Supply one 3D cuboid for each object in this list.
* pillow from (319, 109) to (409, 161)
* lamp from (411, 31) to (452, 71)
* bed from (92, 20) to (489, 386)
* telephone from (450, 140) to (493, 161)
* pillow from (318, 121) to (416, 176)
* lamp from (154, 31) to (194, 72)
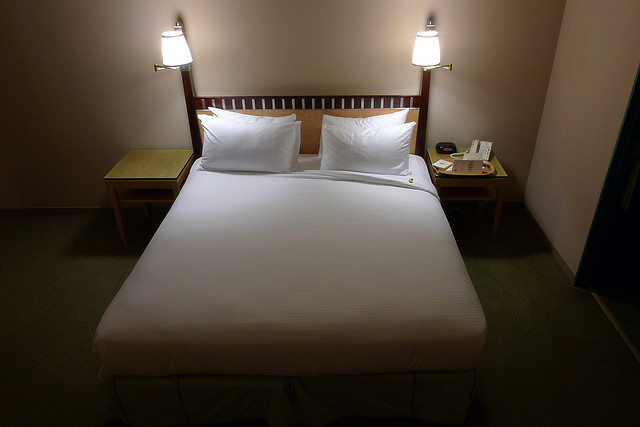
[{"bbox_3d":[0.438,-0.726,4.094,0.543,0.122,0.349,1,68,14],"label":"pillow"},{"bbox_3d":[1.062,-1.468,3.994,0.373,0.314,0.238,-4,22,-6],"label":"lamp"},{"bbox_3d":[-0.206,0.078,3.505,2.525,1.218,2.172,-2,27,1],"label":"bed"},{"bbox_3d":[1.501,-0.632,4.174,0.204,0.167,0.377,14,37,40],"label":"telephone"},{"bbox_3d":[0.434,-0.632,4.135,0.928,0.531,0.292,4,25,9],"label":"pillow"},{"bbox_3d":[-1.409,-1.487,4.043,0.375,0.324,0.256,3,26,18],"label":"lamp"}]
